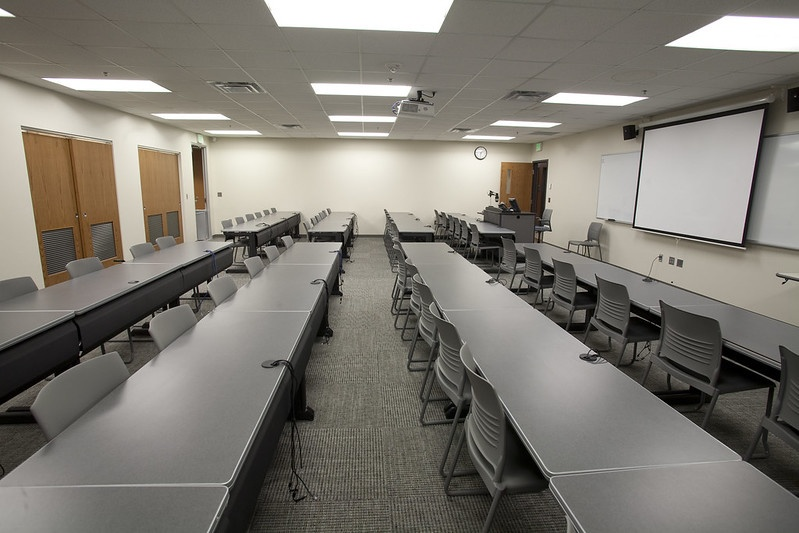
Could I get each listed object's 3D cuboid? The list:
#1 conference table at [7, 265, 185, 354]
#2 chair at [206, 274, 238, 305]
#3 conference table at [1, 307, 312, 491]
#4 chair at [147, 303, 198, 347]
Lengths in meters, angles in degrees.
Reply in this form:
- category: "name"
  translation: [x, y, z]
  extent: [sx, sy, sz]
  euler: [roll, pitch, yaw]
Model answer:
- category: "conference table"
  translation: [-3.066, 0.307, 4.619]
  extent: [0.700, 0.361, 1.498]
  euler: [2, 10, 1]
- category: "chair"
  translation: [-1.766, 0.249, 4.582]
  extent: [0.262, 0.239, 0.521]
  euler: [-1, 12, -15]
- category: "conference table"
  translation: [-1.482, 0.977, 3.101]
  extent: [0.706, 0.417, 1.712]
  euler: [1, 17, -3]
- category: "chair"
  translation: [-1.887, 0.462, 3.856]
  extent: [0.329, 0.491, 0.294]
  euler: [9, 12, 38]
